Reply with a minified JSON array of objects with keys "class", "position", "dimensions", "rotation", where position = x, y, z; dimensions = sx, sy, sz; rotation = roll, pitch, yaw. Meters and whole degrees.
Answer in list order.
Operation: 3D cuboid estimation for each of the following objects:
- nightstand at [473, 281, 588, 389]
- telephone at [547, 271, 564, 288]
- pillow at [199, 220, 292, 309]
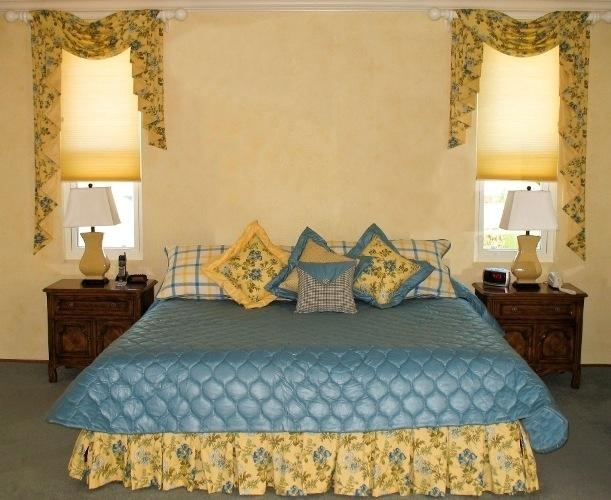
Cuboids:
[{"class":"nightstand","position":[1.870,0.583,5.121],"dimensions":[1.088,1.122,0.728],"rotation":[-1,4,2]},{"class":"telephone","position":[2.165,0.272,4.905],"dimensions":[0.087,0.106,0.144],"rotation":[-1,10,2]},{"class":"pillow","position":[-0.446,0.138,4.554],"dimensions":[0.637,0.606,0.211],"rotation":[-44,-12,-15]}]
